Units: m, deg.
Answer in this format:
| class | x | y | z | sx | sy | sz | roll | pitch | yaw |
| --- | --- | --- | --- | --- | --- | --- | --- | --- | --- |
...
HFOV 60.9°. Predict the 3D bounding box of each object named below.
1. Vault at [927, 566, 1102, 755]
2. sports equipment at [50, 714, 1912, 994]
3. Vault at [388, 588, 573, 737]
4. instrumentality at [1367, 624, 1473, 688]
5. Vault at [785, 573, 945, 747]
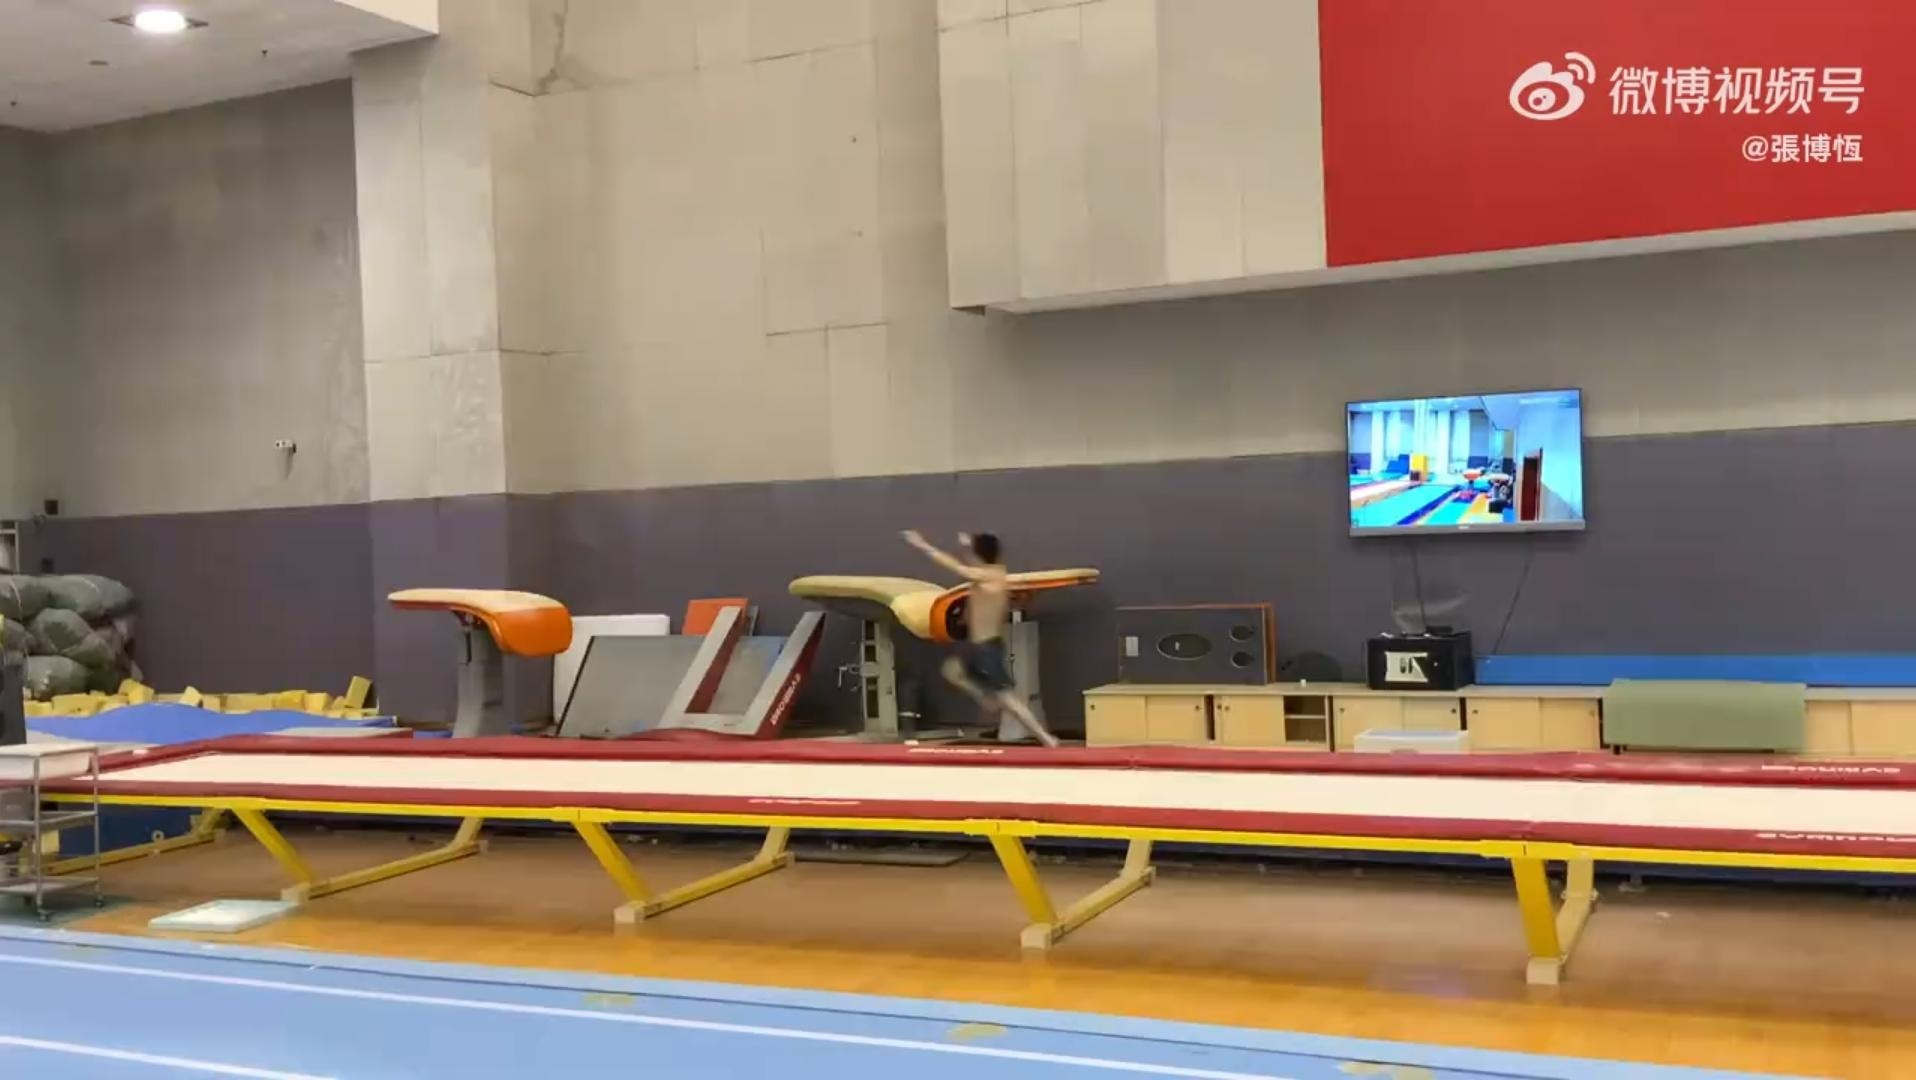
| class | x | y | z | sx | sy | sz | roll | pitch | yaw |
| --- | --- | --- | --- | --- | --- | --- | --- | --- | --- |
| Vault | 0.483 | 0.825 | 11.643 | 1.326 | 1.063 | 0.839 | -5 | -12 | 23 |
| sports equipment | 0.363 | 1.762 | 9.279 | 9.485 | 0.963 | 1.367 | 0 | 12 | 12 |
| Vault | -3.389 | 0.928 | 11.705 | 1.281 | 0.964 | 1.105 | -8 | -13 | 24 |
| instrumentality | 3.124 | 0.774 | 10.957 | 0.512 | 0.262 | 0.485 | 0 | 0 | 20 |
| Vault | -0.609 | 0.943 | 11.622 | 1.240 | 0.998 | 1.133 | 7 | -9 | -27 |
